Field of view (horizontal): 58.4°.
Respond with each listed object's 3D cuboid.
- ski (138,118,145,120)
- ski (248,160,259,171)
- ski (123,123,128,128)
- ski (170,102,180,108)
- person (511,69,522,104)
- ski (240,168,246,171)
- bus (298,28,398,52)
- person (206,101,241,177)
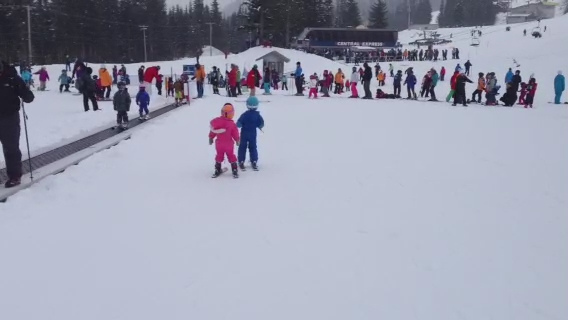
[{"bbox_3d":[-5.998,-1.747,21.344,0.301,0.086,0.089,15,23,34],"label":"ski"},{"bbox_3d":[-0.983,0.158,16.022,0.164,0.222,0.528,-2,12,-24],"label":"ski"},{"bbox_3d":[-6.156,-1.345,19.717,0.178,0.169,0.093,10,14,39],"label":"ski"},{"bbox_3d":[-5.486,-2.775,25.545,0.203,0.144,0.863,24,15,-5],"label":"ski"},{"bbox_3d":[11.819,-3.747,26.118,0.401,1.909,1.308,11,21,29],"label":"person"},{"bbox_3d":[-1.260,0.272,15.818,0.158,0.055,0.076,5,19,10],"label":"ski"},{"bbox_3d":[8.038,-15.992,66.460,14.635,3.470,4.481,-2,12,-12],"label":"bus"},{"bbox_3d":[-1.781,-0.610,15.255,0.923,2.102,0.854,-2,19,-8],"label":"person"}]
